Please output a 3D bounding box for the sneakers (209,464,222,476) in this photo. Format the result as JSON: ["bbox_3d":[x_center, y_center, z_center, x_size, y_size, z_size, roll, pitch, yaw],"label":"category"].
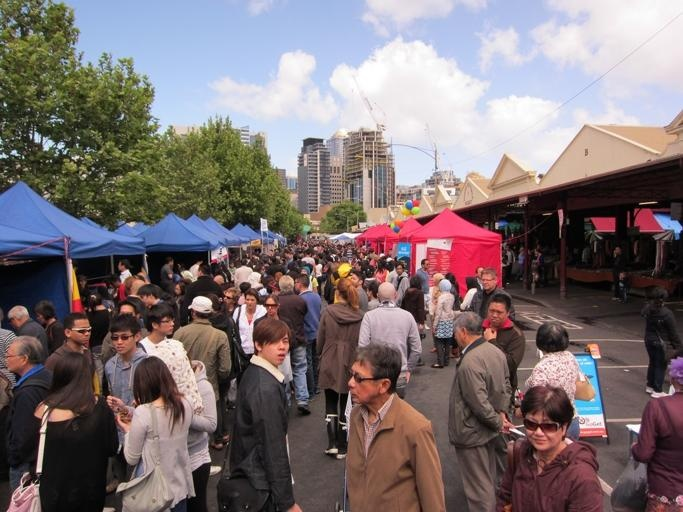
[{"bbox_3d":[-1.701,2.902,7.454,0.139,0.117,0.270,0,-2,-11],"label":"sneakers"}]

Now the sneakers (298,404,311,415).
[{"bbox_3d":[-0.619,2.590,9.300,0.217,0.195,0.331,0,-2,-3],"label":"sneakers"}]

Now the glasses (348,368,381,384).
[{"bbox_3d":[0.195,1.049,4.762,0.283,0.095,0.107,-2,-2,32],"label":"glasses"}]

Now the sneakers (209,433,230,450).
[{"bbox_3d":[-1.818,2.756,8.179,0.156,0.200,0.445,-2,0,-25],"label":"sneakers"}]

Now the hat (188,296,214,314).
[{"bbox_3d":[-1.903,0.656,7.426,0.218,0.169,0.309,0,8,-36],"label":"hat"}]

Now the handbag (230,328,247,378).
[{"bbox_3d":[-1.534,1.446,8.158,0.190,0.576,0.417,4,-5,-14],"label":"handbag"}]

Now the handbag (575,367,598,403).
[{"bbox_3d":[2.877,1.539,6.442,0.250,0.435,0.425,-2,-12,1],"label":"handbag"}]

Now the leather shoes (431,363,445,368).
[{"bbox_3d":[2.058,2.349,11.603,0.163,0.064,0.100,1,-1,13],"label":"leather shoes"}]

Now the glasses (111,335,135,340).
[{"bbox_3d":[-2.521,0.936,6.304,0.234,0.077,0.090,0,-2,-20],"label":"glasses"}]

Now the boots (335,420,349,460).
[{"bbox_3d":[0.011,2.596,7.662,0.144,0.539,0.290,0,-2,-6],"label":"boots"}]
